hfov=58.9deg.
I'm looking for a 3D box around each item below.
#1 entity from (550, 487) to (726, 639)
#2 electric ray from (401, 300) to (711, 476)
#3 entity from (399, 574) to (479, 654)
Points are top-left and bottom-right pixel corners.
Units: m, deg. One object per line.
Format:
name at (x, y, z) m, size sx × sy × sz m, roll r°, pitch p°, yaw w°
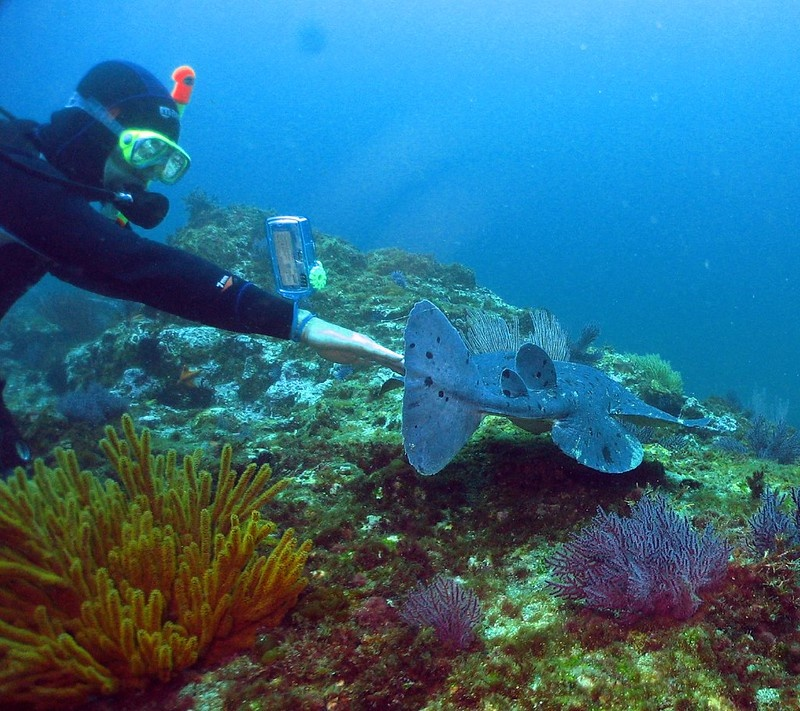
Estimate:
entity at (1.164, 1.013, 3.466) m, size 0.529 × 0.251 × 0.621 m, roll 3°, pitch 42°, yaw 14°
electric ray at (0.856, 0.167, 4.001) m, size 0.687 × 0.999 × 1.852 m, roll 9°, pitch 11°, yaw 44°
entity at (0.216, 1.235, 3.447) m, size 0.299 × 0.345 × 0.145 m, roll -21°, pitch 2°, yaw 1°
